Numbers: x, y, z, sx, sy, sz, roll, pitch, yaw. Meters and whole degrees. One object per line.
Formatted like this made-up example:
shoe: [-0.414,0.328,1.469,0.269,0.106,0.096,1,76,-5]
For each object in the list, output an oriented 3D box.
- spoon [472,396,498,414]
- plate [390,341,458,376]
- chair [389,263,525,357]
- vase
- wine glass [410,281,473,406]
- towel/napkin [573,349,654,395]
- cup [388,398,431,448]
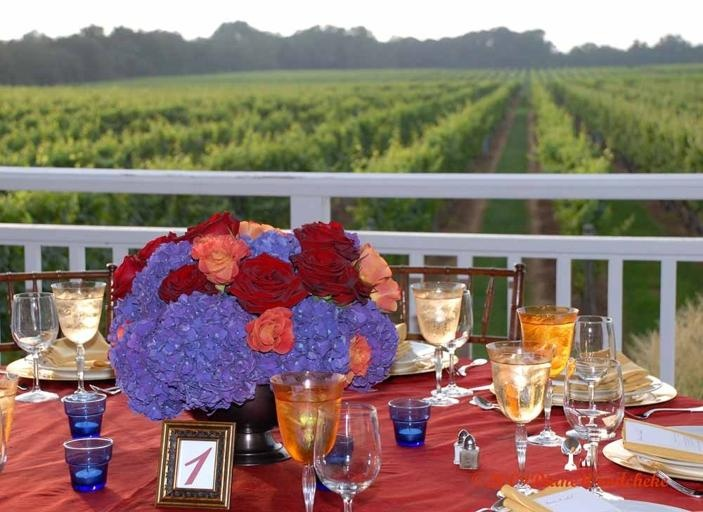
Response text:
spoon: [0.619,0.627,5.227,0.045,0.044,0.223,-1,14,-39]
plate: [0.342,0.443,5.414,0.273,0.190,0.260,-1,7,19]
chair: [0.575,0.255,6.116,0.378,1.043,0.420,0,-2,-4]
vase: [-0.458,0.711,4.983,0.325,0.435,0.370,0,-4,-9]
wine glass: [0.418,0.324,5.395,0.250,0.602,0.250,12,15,43]
towel/napkin: [1.272,0.482,5.241,0.297,0.189,0.251,7,10,34]
cup: [0.258,0.681,5.097,0.196,0.213,0.195,5,10,-1]
